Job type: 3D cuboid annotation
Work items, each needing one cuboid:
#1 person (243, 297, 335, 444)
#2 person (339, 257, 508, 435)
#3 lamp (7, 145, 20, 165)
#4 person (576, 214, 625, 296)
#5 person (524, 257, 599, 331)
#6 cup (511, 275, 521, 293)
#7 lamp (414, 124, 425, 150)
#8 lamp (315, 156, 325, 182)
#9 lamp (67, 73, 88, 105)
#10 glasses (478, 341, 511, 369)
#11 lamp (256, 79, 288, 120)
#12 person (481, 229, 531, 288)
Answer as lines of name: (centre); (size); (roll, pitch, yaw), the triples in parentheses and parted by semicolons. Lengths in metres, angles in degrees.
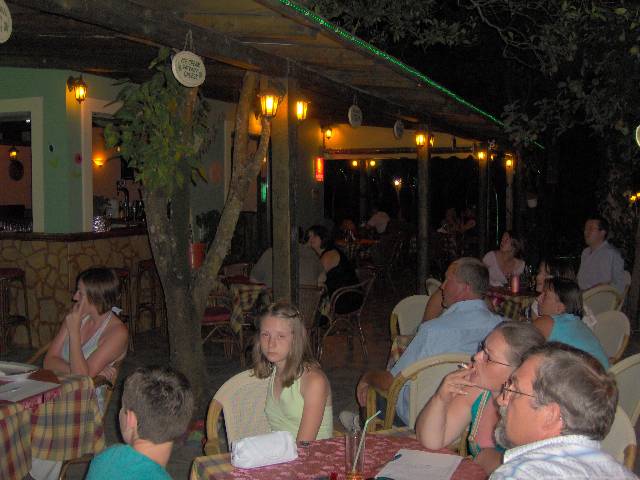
person: (-0.183, 0.859, 3.073); (0.423, 0.950, 0.441); (0, -2, -31)
person: (0.812, 0.872, 4.265); (1.057, 1.614, 1.264); (5, 5, -5)
lamp: (-8.775, -2.424, 15.241); (0.268, 0.520, 0.660); (0, -1, -30)
person: (3.569, 0.232, 6.881); (0.574, 1.133, 0.733); (-1, 3, 8)
person: (2.245, 0.495, 4.973); (0.555, 0.692, 0.739); (16, 12, 24)
cup: (2.272, 0.503, 6.206); (0.104, 0.194, 0.186); (0, -1, 20)
lamp: (1.707, -1.746, 8.984); (0.176, 0.371, 0.166); (0, 0, 12)
lamp: (-0.003, -1.823, 13.868); (0.162, 0.449, 0.609); (0, -1, 12)
lamp: (-3.254, -2.037, 7.096); (0.230, 0.365, 0.271); (0, -1, -30)
glasses: (0.847, 0.558, 2.608); (0.100, 0.034, 0.102); (18, 3, -12)
lamp: (-0.468, -1.401, 5.272); (0.200, 0.321, 0.341); (-1, -1, 41)
person: (2.384, 0.263, 6.934); (0.484, 0.825, 0.512); (10, -8, 32)
